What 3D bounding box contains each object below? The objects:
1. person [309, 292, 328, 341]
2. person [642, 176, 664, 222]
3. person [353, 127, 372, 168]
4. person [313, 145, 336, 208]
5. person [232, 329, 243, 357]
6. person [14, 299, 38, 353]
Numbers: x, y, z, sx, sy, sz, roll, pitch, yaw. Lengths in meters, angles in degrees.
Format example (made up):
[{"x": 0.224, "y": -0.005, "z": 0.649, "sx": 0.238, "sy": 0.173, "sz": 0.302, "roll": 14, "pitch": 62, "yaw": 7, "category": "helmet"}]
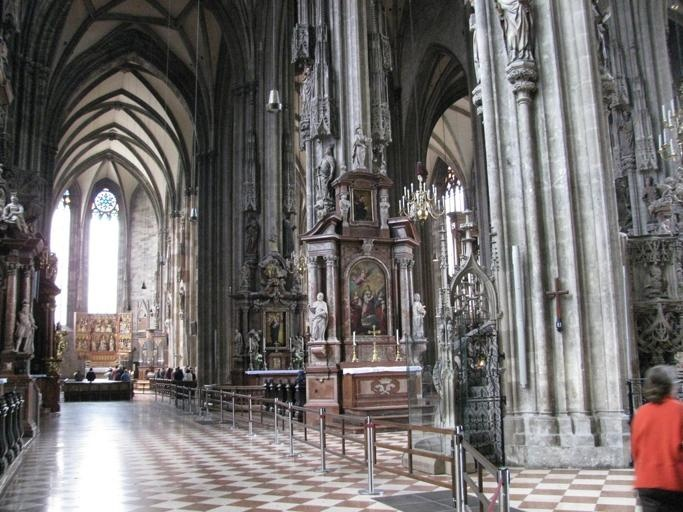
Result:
[{"x": -0.583, "y": 1.560, "z": 18.581, "sx": 0.457, "sy": 1.187, "sz": 0.550, "roll": -1, "pitch": -11, "yaw": -4, "category": "person"}, {"x": 8.673, "y": -1.680, "z": 20.415, "sx": 0.529, "sy": 1.415, "sz": 0.992, "roll": -7, "pitch": -12, "yaw": 24, "category": "person"}, {"x": 0.546, "y": -2.861, "z": 19.626, "sx": 0.529, "sy": 1.207, "sz": 0.411, "roll": 2, "pitch": -11, "yaw": -18, "category": "person"}, {"x": -0.465, "y": -2.128, "z": 19.888, "sx": 0.682, "sy": 1.702, "sz": 0.403, "roll": -12, "pitch": -15, "yaw": 44, "category": "person"}, {"x": -3.918, "y": 3.258, "z": 27.817, "sx": 0.261, "sy": 1.055, "sz": 0.378, "roll": 5, "pitch": -13, "yaw": -33, "category": "person"}, {"x": -7.712, "y": 1.696, "z": 17.784, "sx": 0.392, "sy": 1.356, "sz": 0.592, "roll": 2, "pitch": -11, "yaw": -19, "category": "person"}]
